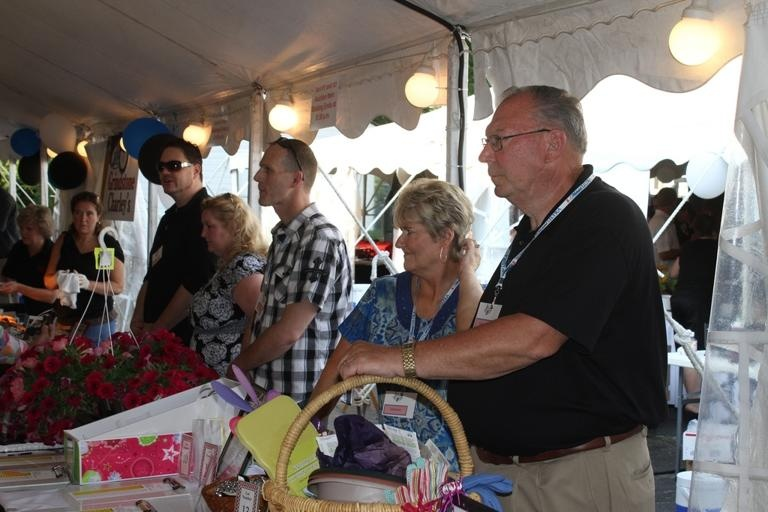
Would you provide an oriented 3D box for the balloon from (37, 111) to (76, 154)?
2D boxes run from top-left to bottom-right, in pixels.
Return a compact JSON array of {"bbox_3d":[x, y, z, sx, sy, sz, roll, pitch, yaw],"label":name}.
[{"bbox_3d":[-3.932,-1.479,7.431,0.399,0.444,0.247,5,-5,-31],"label":"balloon"}]

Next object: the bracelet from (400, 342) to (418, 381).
[{"bbox_3d":[0.087,0.349,2.000,0.061,0.095,0.103,-1,13,11],"label":"bracelet"}]

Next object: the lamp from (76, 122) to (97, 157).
[{"bbox_3d":[-3.686,-1.431,7.596,0.311,0.398,0.122,1,-5,18],"label":"lamp"}]

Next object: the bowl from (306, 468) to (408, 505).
[{"bbox_3d":[-0.103,0.690,1.831,0.308,0.096,0.108,1,-5,16],"label":"bowl"}]

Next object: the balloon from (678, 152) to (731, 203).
[{"bbox_3d":[2.372,-0.606,4.529,0.230,0.356,0.458,0,-5,24],"label":"balloon"}]

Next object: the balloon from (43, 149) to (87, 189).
[{"bbox_3d":[-3.899,-1.047,7.556,0.419,0.435,0.346,-1,-6,32],"label":"balloon"}]

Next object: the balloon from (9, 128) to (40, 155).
[{"bbox_3d":[-4.764,-1.538,8.175,0.357,0.407,0.336,5,-6,-32],"label":"balloon"}]
